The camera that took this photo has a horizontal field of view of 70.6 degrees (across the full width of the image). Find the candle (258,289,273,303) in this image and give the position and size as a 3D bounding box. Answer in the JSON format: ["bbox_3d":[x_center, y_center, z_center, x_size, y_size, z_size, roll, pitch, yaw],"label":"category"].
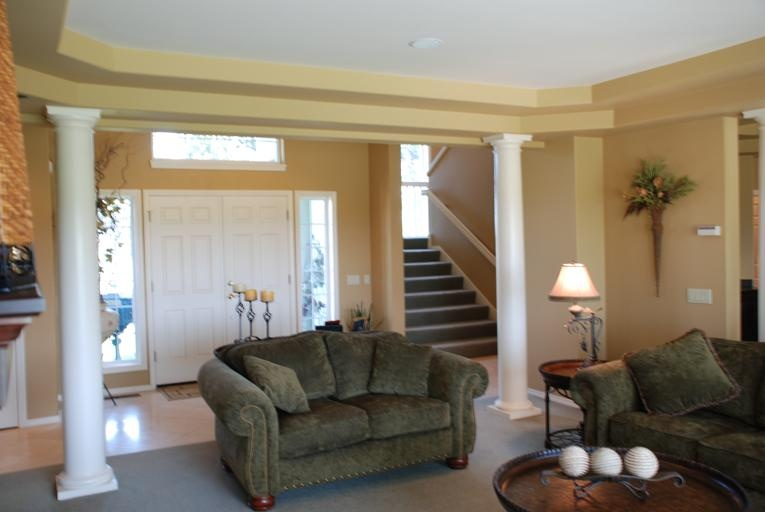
[{"bbox_3d":[-1.343,0.464,6.205,0.222,0.145,0.209,1,2,10],"label":"candle"}]

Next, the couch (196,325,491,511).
[{"bbox_3d":[-0.269,1.223,4.373,2.319,1.048,1.247,1,-6,-25],"label":"couch"}]

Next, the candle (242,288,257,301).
[{"bbox_3d":[-1.548,0.451,6.275,0.206,0.130,0.193,1,-3,-9],"label":"candle"}]

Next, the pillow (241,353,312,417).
[{"bbox_3d":[-0.847,1.025,4.306,0.443,0.423,0.383,-3,5,-22],"label":"pillow"}]

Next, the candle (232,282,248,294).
[{"bbox_3d":[-1.696,0.375,6.362,0.173,0.088,0.161,1,0,-3],"label":"candle"}]
